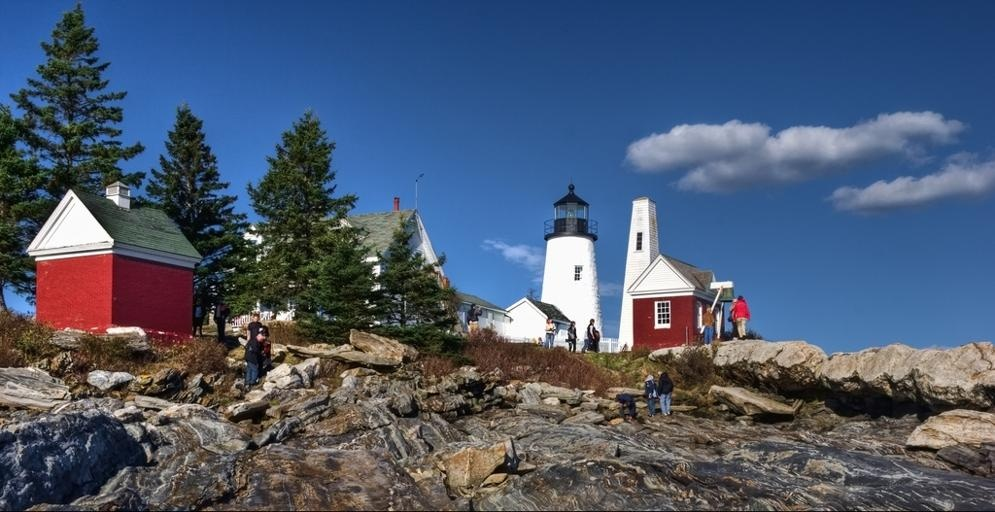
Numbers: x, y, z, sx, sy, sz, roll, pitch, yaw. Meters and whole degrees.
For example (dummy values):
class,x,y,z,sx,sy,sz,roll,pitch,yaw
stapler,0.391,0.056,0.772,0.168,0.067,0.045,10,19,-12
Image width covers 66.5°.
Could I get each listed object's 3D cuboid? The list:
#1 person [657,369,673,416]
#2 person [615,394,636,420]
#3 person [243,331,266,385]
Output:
class,x,y,z,sx,sy,sz,roll,pitch,yaw
person,9.226,7.534,41.598,0.706,2.316,1.265,-2,-12,8
person,6.541,8.038,40.468,0.951,1.284,1.933,1,-6,-6
person,-11.980,5.055,37.897,0.756,2.834,0.852,-11,-16,42
